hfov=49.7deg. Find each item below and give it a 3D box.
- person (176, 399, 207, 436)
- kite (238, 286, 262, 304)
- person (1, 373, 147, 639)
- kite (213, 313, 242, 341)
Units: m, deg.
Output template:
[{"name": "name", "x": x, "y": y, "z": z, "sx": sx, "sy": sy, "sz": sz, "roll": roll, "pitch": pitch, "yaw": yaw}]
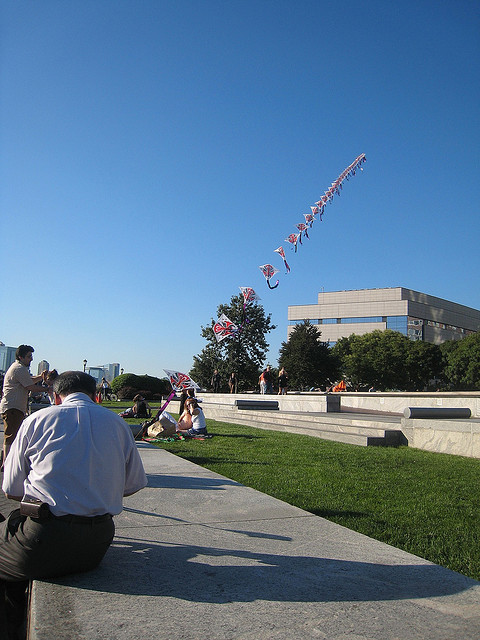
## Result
[{"name": "person", "x": -1.288, "y": 2.732, "z": 14.137, "sx": 0.823, "sy": 1.194, "sz": 0.763, "roll": 3, "pitch": -21, "yaw": -5}, {"name": "kite", "x": 0.803, "y": -1.784, "z": 36.785, "sx": 1.652, "sy": 1.946, "sz": 0.823, "roll": 1, "pitch": -1, "yaw": -29}, {"name": "person", "x": -1.008, "y": 1.127, "z": 3.073, "sx": 0.838, "sy": 1.608, "sz": 0.547, "roll": -1, "pitch": -4, "yaw": -12}, {"name": "kite", "x": -0.987, "y": 0.766, "z": 47.052, "sx": 0.378, "sy": 1.438, "sz": 3.235, "roll": -30, "pitch": 0, "yaw": -18}]
